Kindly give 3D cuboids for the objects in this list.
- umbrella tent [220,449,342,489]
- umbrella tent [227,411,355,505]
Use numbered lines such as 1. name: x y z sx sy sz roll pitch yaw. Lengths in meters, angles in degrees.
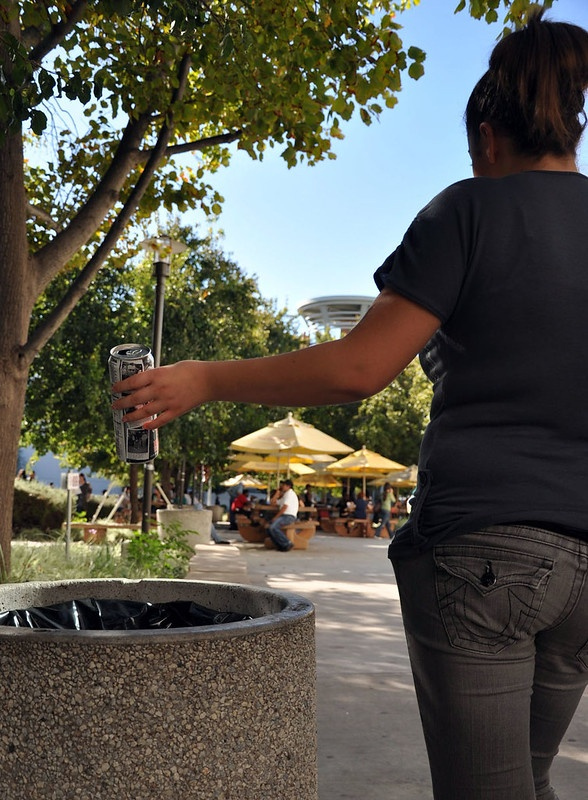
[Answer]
1. umbrella tent: -0.435 2.153 28.848 3.282 1.184 2.670 0 -8 -5
2. umbrella tent: -0.053 1.072 20.489 3.008 1.435 2.819 6 -4 -15
